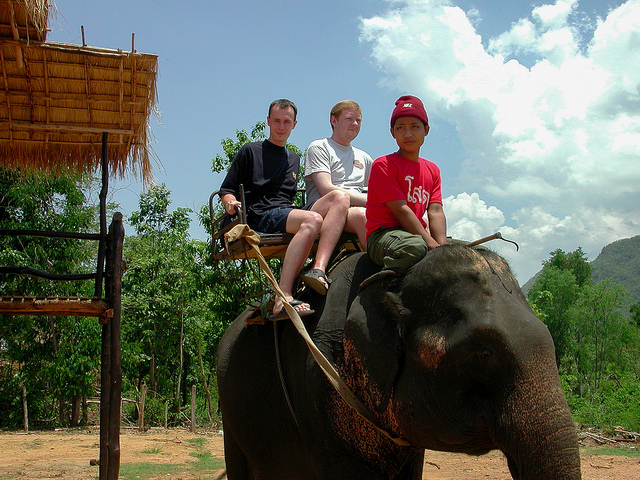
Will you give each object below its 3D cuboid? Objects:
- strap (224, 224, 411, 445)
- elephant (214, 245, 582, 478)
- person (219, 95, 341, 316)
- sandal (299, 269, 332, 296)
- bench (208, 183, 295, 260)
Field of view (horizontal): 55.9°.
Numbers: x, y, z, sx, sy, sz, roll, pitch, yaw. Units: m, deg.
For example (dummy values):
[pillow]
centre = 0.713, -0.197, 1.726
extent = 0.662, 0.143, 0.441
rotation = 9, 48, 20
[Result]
[strap]
centre = 0.008, 0.691, 4.439
extent = 0.281, 2.309, 0.402
rotation = -10, -39, -32
[elephant]
centre = 0.312, 0.965, 4.313
extent = 0.669, 1.801, 2.847
rotation = 5, -12, -42
[person]
centre = -0.258, -0.356, 5.328
extent = 1.117, 2.096, 1.027
rotation = -14, -19, 36
[sandal]
centre = -0.022, 0.292, 4.503
extent = 0.076, 0.288, 0.124
rotation = -29, -31, -36
[bench]
centre = -0.531, -0.186, 5.086
extent = 0.646, 0.676, 0.483
rotation = -8, 0, -33
